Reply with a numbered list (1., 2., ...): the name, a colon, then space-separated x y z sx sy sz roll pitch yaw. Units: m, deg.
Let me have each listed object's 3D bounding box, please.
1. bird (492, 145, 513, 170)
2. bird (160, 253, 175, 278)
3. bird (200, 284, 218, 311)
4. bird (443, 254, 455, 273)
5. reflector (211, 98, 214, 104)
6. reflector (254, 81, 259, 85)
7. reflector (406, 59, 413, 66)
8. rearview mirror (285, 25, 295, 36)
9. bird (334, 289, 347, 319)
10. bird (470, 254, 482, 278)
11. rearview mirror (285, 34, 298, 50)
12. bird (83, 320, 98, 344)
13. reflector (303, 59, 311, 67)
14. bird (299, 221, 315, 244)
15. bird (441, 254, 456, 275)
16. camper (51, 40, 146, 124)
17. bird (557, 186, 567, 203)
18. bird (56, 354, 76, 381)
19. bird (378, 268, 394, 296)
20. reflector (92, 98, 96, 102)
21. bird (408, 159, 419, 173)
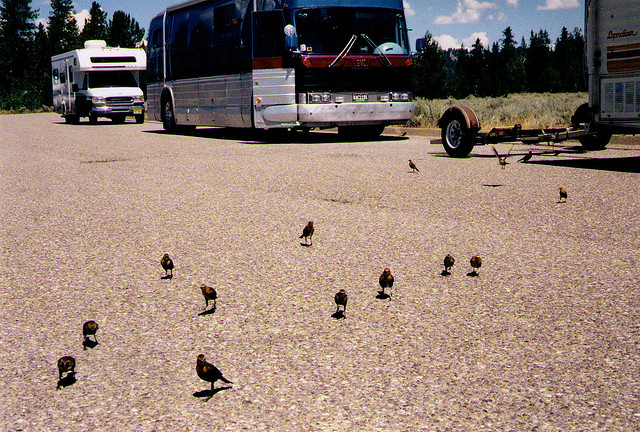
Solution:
1. bird: 3.595 -1.156 14.330 0.405 0.312 0.343 -2 1 11
2. bird: -1.601 0.481 7.679 0.133 0.266 0.414 -4 14 -12
3. bird: -1.033 0.741 6.790 0.129 0.231 0.266 -4 13 -10
4. bird: 1.376 0.482 7.683 0.099 0.210 0.310 1 14 10
5. reflector: -3.427 -3.701 23.366 0.029 0.146 0.208 -7 14 -24
6. reflector: -1.767 -3.783 20.501 0.089 0.055 0.088 -8 11 -41
7. reflector: 2.584 -4.424 20.819 0.109 0.184 0.175 -15 -9 -41
8. rearview mirror: -0.788 -5.009 19.558 0.241 0.288 0.241 -10 18 -35
9. bird: 0.198 0.774 6.636 0.109 0.255 0.247 -1 13 3
10. bird: 1.647 0.488 7.649 0.112 0.203 0.282 1 14 12
11. rearview mirror: -0.738 -4.697 19.505 0.313 0.400 0.395 -2 13 0
12. bird: -1.923 0.954 6.102 0.071 0.155 0.223 -1 4 -12
13. reflector: -0.325 -4.132 19.534 0.209 0.202 0.040 -8 13 -26
14. bird: -0.152 0.179 8.808 0.171 0.300 0.494 -2 14 -3
15. bird: 1.369 0.479 7.702 0.111 0.214 0.345 2 14 15
16. camper: -11.154 -6.758 36.548 3.163 3.839 10.196 -4 10 -32
17. bird: 3.626 -0.347 10.942 0.118 0.237 0.349 0 -3 36
18. bird: -1.966 1.177 5.656 0.120 0.168 0.132 -7 14 -22
19. bird: 0.642 0.622 7.027 0.133 0.230 0.278 0 -25 3
20. reflector: -10.883 -5.636 35.113 0.186 0.182 0.029 2 12 15
21. bird: 1.782 -0.973 13.875 0.158 0.214 0.288 -13 -14 43
